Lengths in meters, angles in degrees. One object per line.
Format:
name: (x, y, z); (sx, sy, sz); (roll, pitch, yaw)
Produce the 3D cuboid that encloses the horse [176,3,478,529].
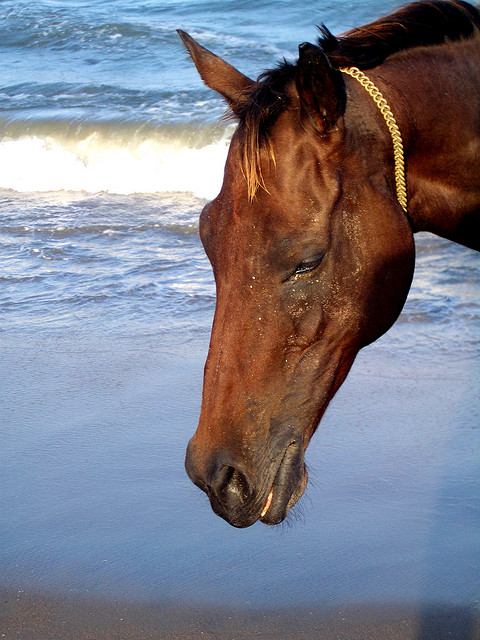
horse: (0.332, -0.246, 3.010); (0.724, 1.686, 1.401); (15, 24, 21)
